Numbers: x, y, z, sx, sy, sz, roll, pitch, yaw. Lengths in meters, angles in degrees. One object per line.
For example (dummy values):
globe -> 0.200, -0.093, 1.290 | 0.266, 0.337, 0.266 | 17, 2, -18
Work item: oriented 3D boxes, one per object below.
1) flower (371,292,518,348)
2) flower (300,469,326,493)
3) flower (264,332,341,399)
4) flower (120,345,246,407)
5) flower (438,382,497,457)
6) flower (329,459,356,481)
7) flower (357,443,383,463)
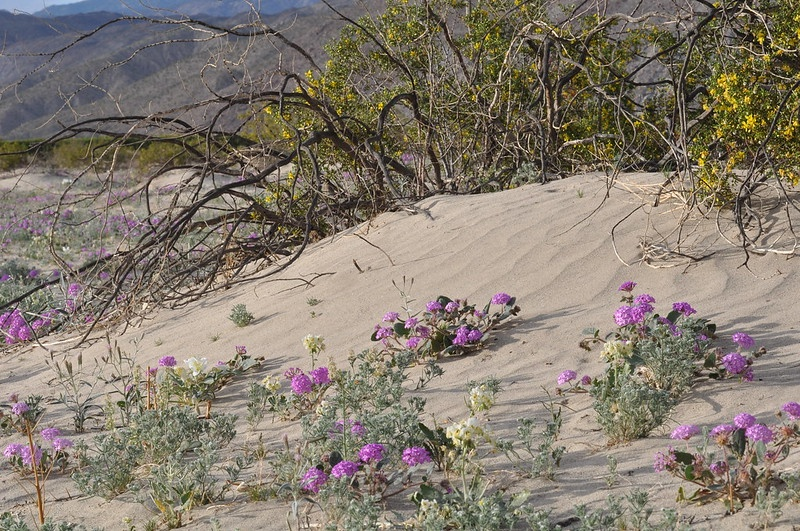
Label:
flower -> 0.659, 0.713, 18.955 | 1.382, 0.454, 0.895 | -23, 26, -20
flower -> -1.012, 2.539, 17.118 | 0.250, 0.159, 0.278 | -20, 18, -31
flower -> -1.194, 1.323, 18.369 | 0.716, 0.717, 0.900 | -9, 8, 14
flower -> -2.620, 1.453, 18.798 | 0.858, 0.304, 0.907 | 0, 17, 6
flower -> 0.874, 1.855, 17.590 | 0.622, 0.743, 0.941 | -14, 5, 12
flower -> -0.635, 2.401, 17.090 | 0.351, 0.200, 0.181 | -19, 6, -36
flower -> -0.337, 2.184, 17.148 | 0.220, 0.160, 0.232 | 6, 15, 42
